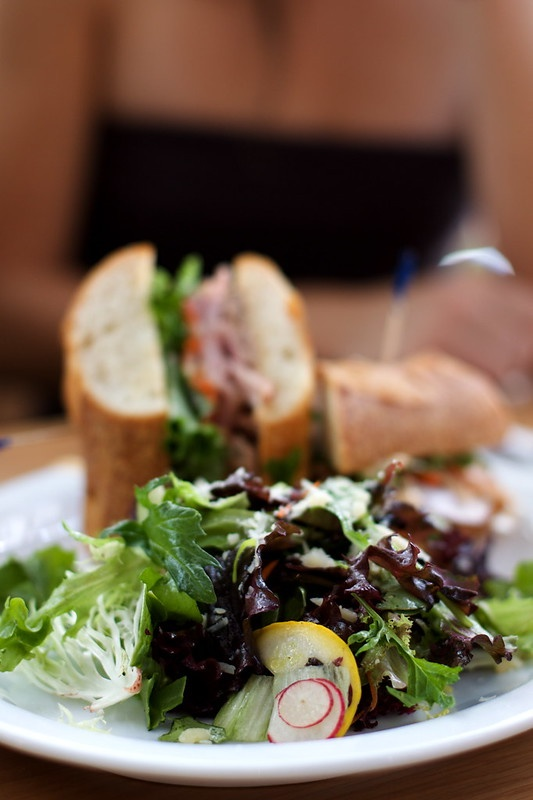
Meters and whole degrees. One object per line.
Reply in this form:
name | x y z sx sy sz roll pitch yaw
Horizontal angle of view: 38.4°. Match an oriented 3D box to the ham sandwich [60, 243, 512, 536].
ham sandwich | -0.013 0.000 0.963 0.519 0.172 0.285 3 44 -20
